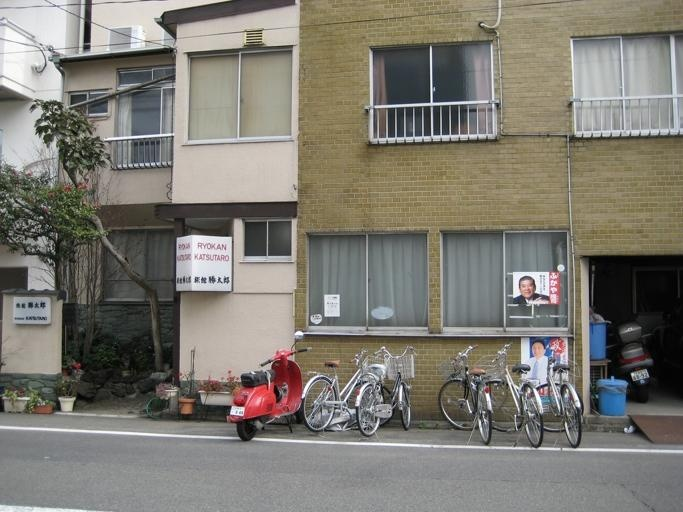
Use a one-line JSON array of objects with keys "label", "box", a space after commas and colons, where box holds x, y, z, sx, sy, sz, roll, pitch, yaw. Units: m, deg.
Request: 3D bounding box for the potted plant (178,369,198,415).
[{"label": "potted plant", "box": [-3.329, 2.945, 18.017, 0.412, 0.995, 0.642, 0, -5, -10]}]

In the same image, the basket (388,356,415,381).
[{"label": "basket", "box": [1.187, 2.202, 16.485, 0.644, 0.560, 0.386, -3, -7, 9]}]

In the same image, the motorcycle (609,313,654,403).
[{"label": "motorcycle", "box": [6.249, 2.283, 18.087, 0.926, 1.757, 0.585, -5, -6, 37]}]

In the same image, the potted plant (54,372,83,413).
[{"label": "potted plant", "box": [-6.120, 3.029, 18.714, 0.465, 0.910, 0.645, -3, -6, 18]}]

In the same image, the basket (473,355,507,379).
[{"label": "basket", "box": [2.994, 2.230, 16.771, 0.492, 0.448, 0.444, 1, -7, 12]}]

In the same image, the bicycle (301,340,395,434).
[{"label": "bicycle", "box": [-0.019, 2.661, 16.145, 1.528, 1.461, 0.865, -1, -5, -5]}]

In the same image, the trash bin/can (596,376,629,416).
[{"label": "trash bin/can", "box": [5.507, 2.869, 16.992, 0.595, 0.763, 0.644, -2, -5, 20]}]

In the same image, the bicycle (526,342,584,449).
[{"label": "bicycle", "box": [4.102, 2.728, 16.006, 0.870, 1.204, 1.915, -2, -2, -5]}]
